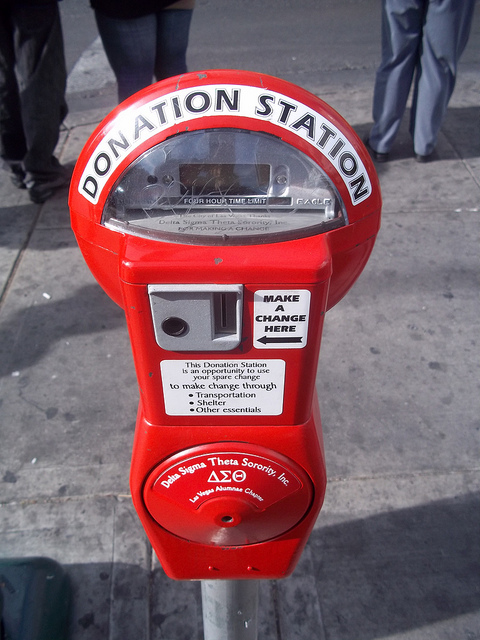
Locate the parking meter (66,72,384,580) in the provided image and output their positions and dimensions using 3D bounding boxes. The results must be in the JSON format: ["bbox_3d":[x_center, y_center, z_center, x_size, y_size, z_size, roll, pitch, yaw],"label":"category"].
[{"bbox_3d":[-0.027,0.070,1.265,0.557,1.129,0.448,6,31,10],"label":"parking meter"}]
